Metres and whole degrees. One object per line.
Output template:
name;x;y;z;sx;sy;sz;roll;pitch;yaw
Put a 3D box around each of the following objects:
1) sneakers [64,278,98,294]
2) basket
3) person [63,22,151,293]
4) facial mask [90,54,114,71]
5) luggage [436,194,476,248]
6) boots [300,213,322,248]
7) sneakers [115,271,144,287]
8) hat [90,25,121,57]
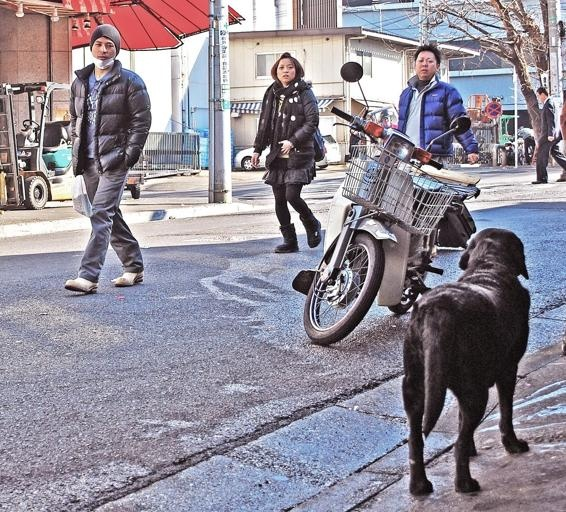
sneakers;-1.989;0.295;5.929;0.316;0.138;0.143;13;-7;-27
basket;0.766;-0.409;4.052;0.746;0.357;0.479;35;-11;-11
person;-1.788;-0.995;6.066;0.888;2.686;0.663;-2;7;-13
facial mask;-1.814;-1.949;6.044;0.224;0.148;0.193;-2;8;-10
luggage;1.330;-0.261;4.633;0.302;0.252;0.463;28;-14;30
boots;0.417;-0.337;8.264;0.201;0.533;0.389;-6;-9;39
sneakers;-1.630;0.260;6.416;0.130;0.127;0.317;1;3;43
hat;-1.744;-2.213;6.087;0.283;0.313;0.351;3;32;-1
